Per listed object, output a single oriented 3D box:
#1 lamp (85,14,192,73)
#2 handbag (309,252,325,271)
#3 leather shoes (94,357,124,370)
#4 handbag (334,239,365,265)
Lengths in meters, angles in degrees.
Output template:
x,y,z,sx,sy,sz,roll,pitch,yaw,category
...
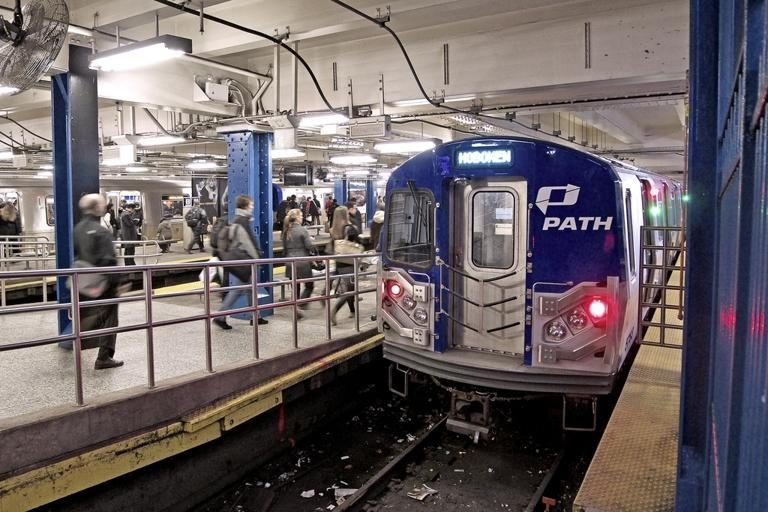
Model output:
x,y,z,sx,sy,sz,roll,pitch,yaw,category
-3.243,-2.735,7.547,1.595,0.270,0.417,4,11,32,lamp
-1.389,0.133,11.684,0.309,0.416,0.394,1,10,4,handbag
-3.675,1.444,7.610,0.406,0.175,0.143,-1,4,-24,leather shoes
-0.665,-0.082,10.647,0.632,0.446,0.429,8,-8,-1,handbag
